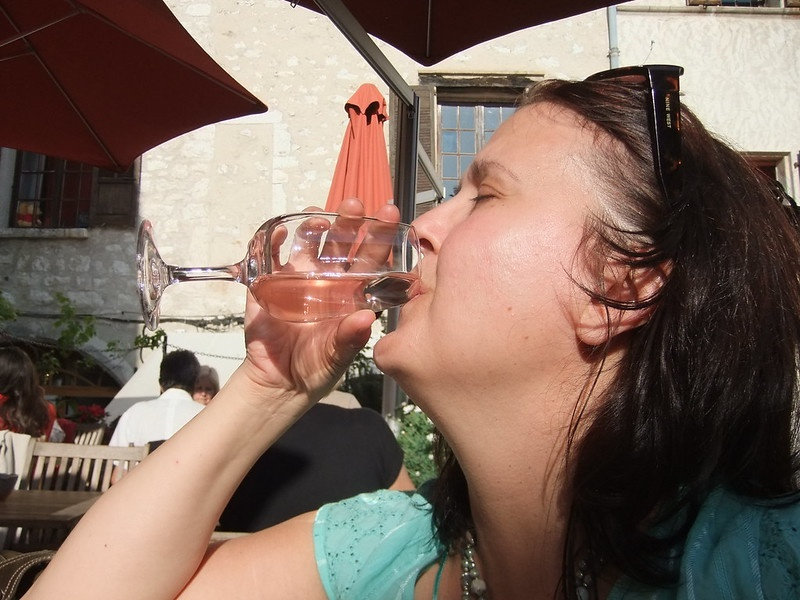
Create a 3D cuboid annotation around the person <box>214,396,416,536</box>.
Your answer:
[{"bbox_3d":[-0.250,0.824,3.086,0.364,0.604,0.658,-26,-18,37],"label":"person"}]

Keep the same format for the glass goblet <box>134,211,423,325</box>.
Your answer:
[{"bbox_3d":[-0.422,-0.087,2.080,0.915,0.390,0.354,-1,2,8],"label":"glass goblet"}]
